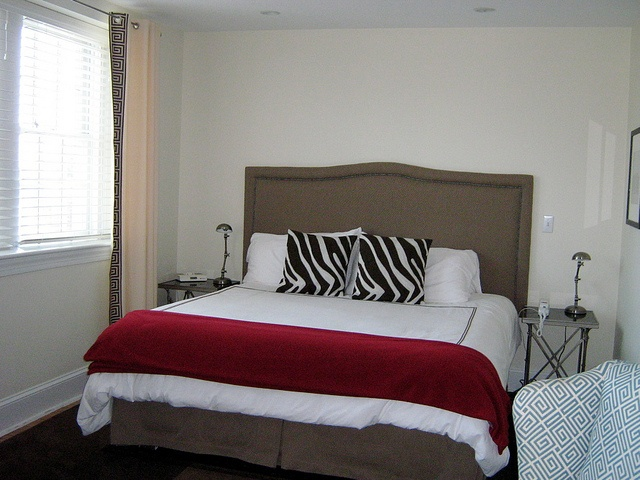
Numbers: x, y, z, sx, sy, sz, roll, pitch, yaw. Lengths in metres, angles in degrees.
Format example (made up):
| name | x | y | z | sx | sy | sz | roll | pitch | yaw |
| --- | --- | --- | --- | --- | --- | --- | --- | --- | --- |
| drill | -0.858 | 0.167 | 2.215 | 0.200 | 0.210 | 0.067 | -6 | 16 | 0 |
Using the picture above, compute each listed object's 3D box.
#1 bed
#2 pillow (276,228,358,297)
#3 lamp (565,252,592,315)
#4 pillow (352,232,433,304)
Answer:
| name | x | y | z | sx | sy | sz | roll | pitch | yaw |
| --- | --- | --- | --- | --- | --- | --- | --- | --- | --- |
| bed | 0.251 | 0.327 | 3.606 | 2.285 | 1.819 | 2.237 | 4 | 7 | 22 |
| pillow | -0.044 | 0.184 | 4.046 | 0.552 | 0.479 | 0.306 | 2 | 7 | 7 |
| lamp | 2.021 | 0.328 | 3.941 | 0.159 | 0.499 | 0.413 | 5 | 8 | 27 |
| pillow | 0.544 | 0.276 | 4.078 | 0.540 | 0.505 | 0.166 | 6 | -19 | 3 |
